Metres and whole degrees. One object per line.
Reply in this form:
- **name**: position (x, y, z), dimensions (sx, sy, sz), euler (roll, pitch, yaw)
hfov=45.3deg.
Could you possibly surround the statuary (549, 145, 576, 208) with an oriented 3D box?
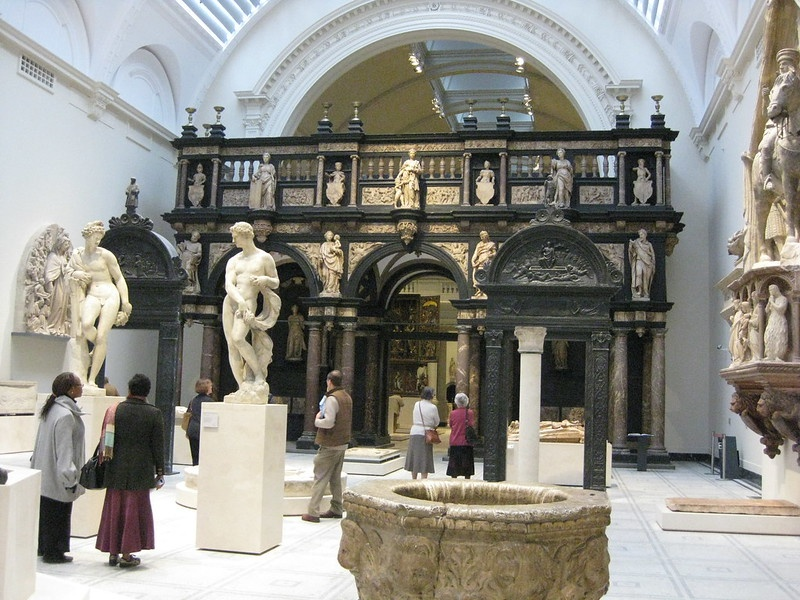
- **statuary**: position (3.362, -2.475, 19.851), dimensions (0.404, 1.295, 0.426), euler (0, -6, 8)

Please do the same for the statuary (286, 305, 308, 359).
- **statuary**: position (-2.509, 0.840, 23.296), dimensions (0.457, 1.346, 0.217), euler (1, -6, -5)

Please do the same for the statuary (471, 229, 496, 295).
- **statuary**: position (1.764, -0.696, 19.809), dimensions (0.541, 1.379, 0.398), euler (1, -2, 29)

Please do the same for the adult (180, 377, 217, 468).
- **adult**: position (-3.262, 1.974, 15.347), dimensions (0.448, 1.379, 2.580), euler (2, -5, -12)

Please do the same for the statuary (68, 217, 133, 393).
- **statuary**: position (-4.373, 0.062, 13.803), dimensions (0.761, 2.409, 1.205), euler (1, -6, -2)

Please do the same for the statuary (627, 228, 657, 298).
- **statuary**: position (5.011, -0.692, 19.672), dimensions (0.552, 1.425, 0.346), euler (0, -6, 5)

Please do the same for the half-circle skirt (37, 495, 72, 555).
- **half-circle skirt**: position (-4.067, 2.524, 11.329), dimensions (0.385, 1.000, 0.247), euler (6, 31, -14)

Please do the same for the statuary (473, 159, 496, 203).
- **statuary**: position (1.811, -2.409, 20.168), dimensions (0.432, 0.923, 0.251), euler (1, -6, 2)

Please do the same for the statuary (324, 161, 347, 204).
- **statuary**: position (-1.390, -2.463, 20.708), dimensions (0.439, 0.959, 0.277), euler (1, -6, -4)

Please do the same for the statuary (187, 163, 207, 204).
- **statuary**: position (-4.561, -2.498, 21.441), dimensions (0.403, 1.030, 0.257), euler (-4, -7, 38)

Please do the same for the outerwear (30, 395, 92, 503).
- **outerwear**: position (-3.969, 1.734, 11.130), dimensions (0.574, 1.239, 0.371), euler (3, -6, -17)

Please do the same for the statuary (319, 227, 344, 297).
- **statuary**: position (-1.448, -0.722, 20.477), dimensions (0.535, 1.377, 0.285), euler (1, -6, -3)

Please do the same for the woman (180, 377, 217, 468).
- **woman**: position (-3.264, 1.974, 15.349), dimensions (0.445, 1.379, 2.060), euler (2, -5, -12)

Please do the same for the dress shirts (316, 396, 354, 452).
- **dress shirts**: position (-0.923, 1.619, 13.233), dimensions (0.487, 0.783, 0.608), euler (1, -3, 21)

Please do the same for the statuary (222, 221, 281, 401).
- **statuary**: position (-1.936, 0.149, 12.511), dimensions (0.705, 2.358, 0.569), euler (2, -6, -11)

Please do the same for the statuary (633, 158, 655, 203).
- **statuary**: position (5.063, -2.407, 19.886), dimensions (0.381, 0.995, 0.303), euler (0, -6, 13)

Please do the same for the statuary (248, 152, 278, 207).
- **statuary**: position (-2.975, -2.555, 20.904), dimensions (0.588, 1.401, 0.533), euler (2, -6, -9)

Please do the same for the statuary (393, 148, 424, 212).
- **statuary**: position (0.196, -2.503, 20.269), dimensions (0.593, 1.339, 0.437), euler (1, -6, 0)
